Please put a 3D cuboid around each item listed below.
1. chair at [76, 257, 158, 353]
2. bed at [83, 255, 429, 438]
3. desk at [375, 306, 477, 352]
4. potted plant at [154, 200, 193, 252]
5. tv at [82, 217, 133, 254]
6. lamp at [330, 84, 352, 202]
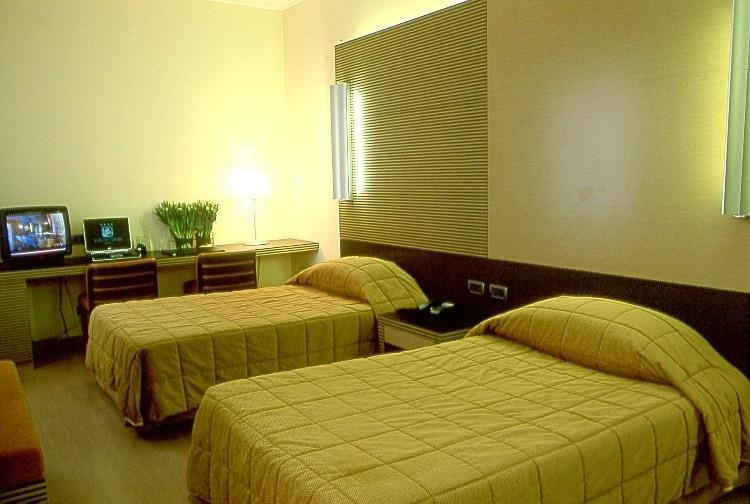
[{"bbox_3d":[-2.453,0.534,5.074,0.666,1.089,0.705,-3,17,-31],"label":"chair"},{"bbox_3d":[-0.990,0.567,4.581,2.388,0.813,1.763,-4,8,-37],"label":"bed"},{"bbox_3d":[0.444,0.449,3.996,0.457,0.463,0.455,-8,10,-41],"label":"desk"},{"bbox_3d":[-2.141,-0.282,5.795,0.440,0.540,0.422,-7,16,-30],"label":"potted plant"},{"bbox_3d":[-2.734,-0.168,5.441,0.453,0.379,0.433,-7,-13,-22],"label":"tv"},{"bbox_3d":[-0.364,-1.095,5.379,0.288,1.173,0.163,5,11,43],"label":"lamp"}]
